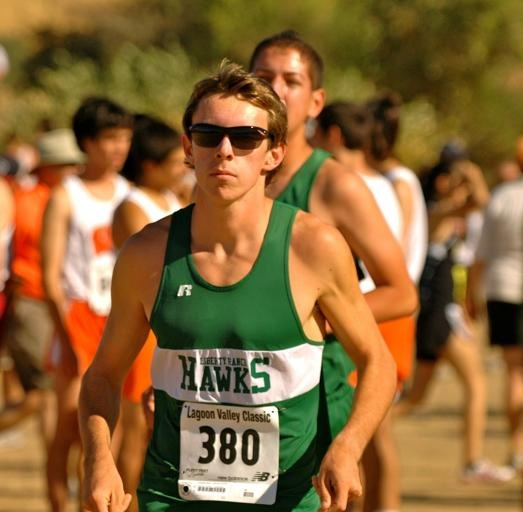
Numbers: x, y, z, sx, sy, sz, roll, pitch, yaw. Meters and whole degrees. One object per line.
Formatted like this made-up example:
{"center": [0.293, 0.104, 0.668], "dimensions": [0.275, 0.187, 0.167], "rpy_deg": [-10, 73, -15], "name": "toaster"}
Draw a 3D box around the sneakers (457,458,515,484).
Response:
{"center": [1.511, 1.421, 6.543], "dimensions": [0.369, 0.182, 0.140], "rpy_deg": [-1, 4, -10], "name": "sneakers"}
